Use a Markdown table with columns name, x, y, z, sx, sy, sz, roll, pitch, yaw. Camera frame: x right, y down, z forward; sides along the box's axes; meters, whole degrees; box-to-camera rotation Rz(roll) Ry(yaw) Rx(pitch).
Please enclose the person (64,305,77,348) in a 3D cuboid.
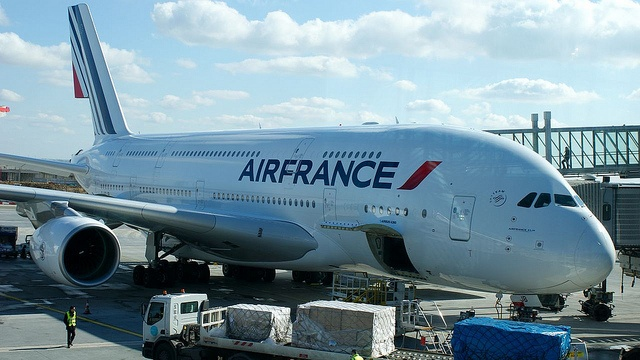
| name | x | y | z | sx | sy | sz | roll | pitch | yaw |
| --- | --- | --- | --- | --- | --- | --- | --- | --- | --- |
| person | -9.302 | 5.369 | 26.285 | 0.398 | 1.362 | 1.352 | 0 | 6 | -19 |
